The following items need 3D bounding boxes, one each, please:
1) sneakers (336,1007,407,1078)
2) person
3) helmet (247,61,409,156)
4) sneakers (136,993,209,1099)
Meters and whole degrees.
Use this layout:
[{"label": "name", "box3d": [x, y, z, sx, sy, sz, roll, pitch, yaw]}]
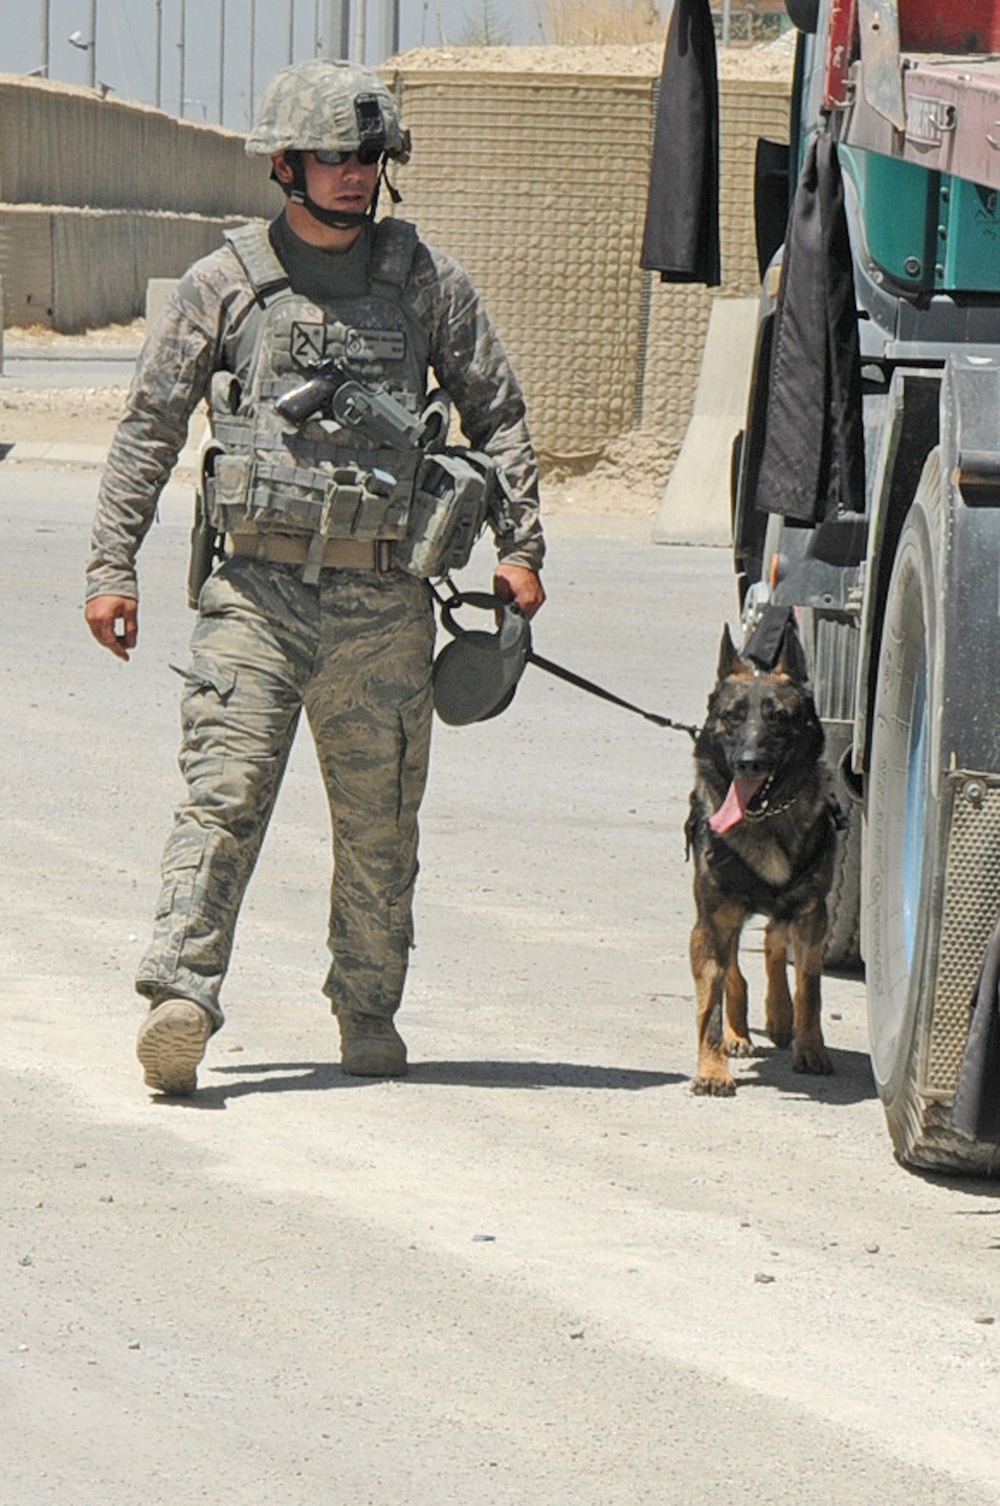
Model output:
[{"label": "sneakers", "box3d": [-0.278, 0.628, 4.605, 0.143, 0.127, 0.131, 2, 2, 3]}, {"label": "person", "box3d": [-0.378, -0.367, 4.461, 0.909, 2.106, 0.540, 2, 4, -32]}, {"label": "helmet", "box3d": [-0.353, -1.318, 4.412, 0.372, 0.205, 0.349, -1, 21, -5]}, {"label": "sneakers", "box3d": [-0.632, 0.574, 4.142, 0.133, 0.189, 0.197, 4, 3, -6]}]
